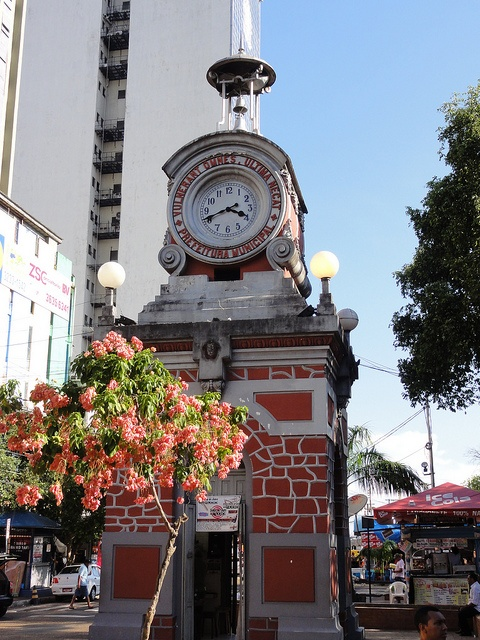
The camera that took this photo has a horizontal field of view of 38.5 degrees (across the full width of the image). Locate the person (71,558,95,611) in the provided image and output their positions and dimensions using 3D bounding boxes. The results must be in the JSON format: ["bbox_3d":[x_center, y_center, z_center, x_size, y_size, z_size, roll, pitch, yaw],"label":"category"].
[{"bbox_3d":[-5.419,8.993,23.677,0.756,1.578,3.551,3,-21,-12],"label":"person"}]
